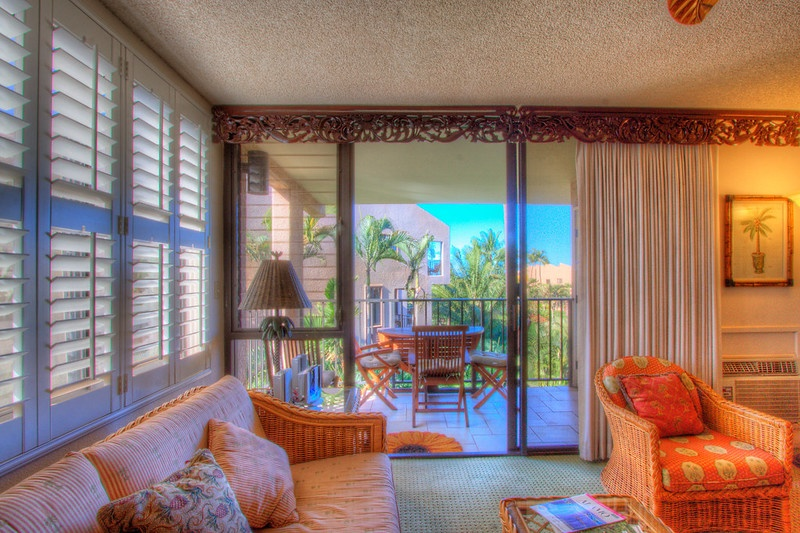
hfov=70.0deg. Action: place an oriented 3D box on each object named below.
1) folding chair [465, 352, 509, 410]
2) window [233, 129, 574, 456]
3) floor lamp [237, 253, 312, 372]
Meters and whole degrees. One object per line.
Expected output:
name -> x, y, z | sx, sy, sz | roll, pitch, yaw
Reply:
folding chair -> 0.844, 1.075, 5.603 | 0.554, 0.566, 0.484 | -1, 1, -6
window -> 0.044, 0.240, 4.995 | 2.768, 2.557, 0.207 | 0, -2, -7
floor lamp -> -0.896, 0.337, 4.107 | 0.470, 0.864, 0.522 | 0, -1, -12
